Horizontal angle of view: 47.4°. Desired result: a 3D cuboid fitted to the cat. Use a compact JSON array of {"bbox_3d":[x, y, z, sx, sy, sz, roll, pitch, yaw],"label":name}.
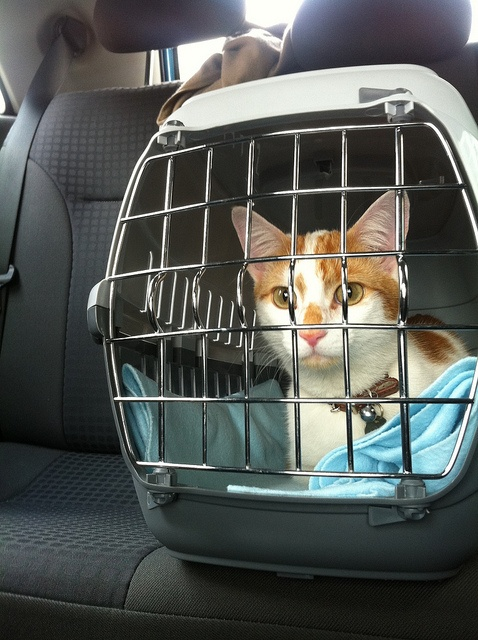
[{"bbox_3d":[0.155,0.044,0.966,0.336,0.454,0.443,-3,-15,14],"label":"cat"}]
